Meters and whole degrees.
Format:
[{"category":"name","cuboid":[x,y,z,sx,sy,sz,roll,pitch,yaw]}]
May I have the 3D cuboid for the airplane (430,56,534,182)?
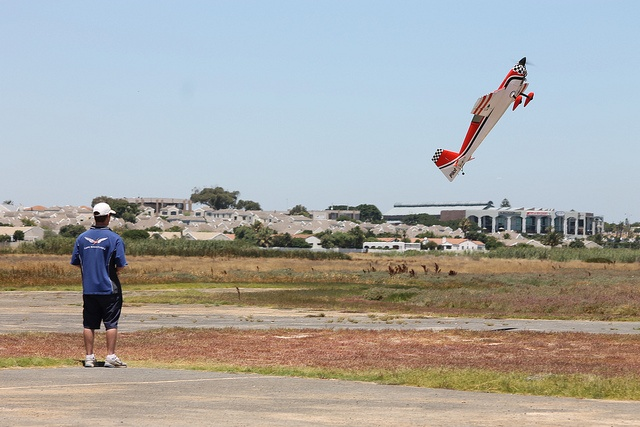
[{"category":"airplane","cuboid":[9.620,-5.686,73.890,2.544,6.983,8.093,37,6,9]}]
